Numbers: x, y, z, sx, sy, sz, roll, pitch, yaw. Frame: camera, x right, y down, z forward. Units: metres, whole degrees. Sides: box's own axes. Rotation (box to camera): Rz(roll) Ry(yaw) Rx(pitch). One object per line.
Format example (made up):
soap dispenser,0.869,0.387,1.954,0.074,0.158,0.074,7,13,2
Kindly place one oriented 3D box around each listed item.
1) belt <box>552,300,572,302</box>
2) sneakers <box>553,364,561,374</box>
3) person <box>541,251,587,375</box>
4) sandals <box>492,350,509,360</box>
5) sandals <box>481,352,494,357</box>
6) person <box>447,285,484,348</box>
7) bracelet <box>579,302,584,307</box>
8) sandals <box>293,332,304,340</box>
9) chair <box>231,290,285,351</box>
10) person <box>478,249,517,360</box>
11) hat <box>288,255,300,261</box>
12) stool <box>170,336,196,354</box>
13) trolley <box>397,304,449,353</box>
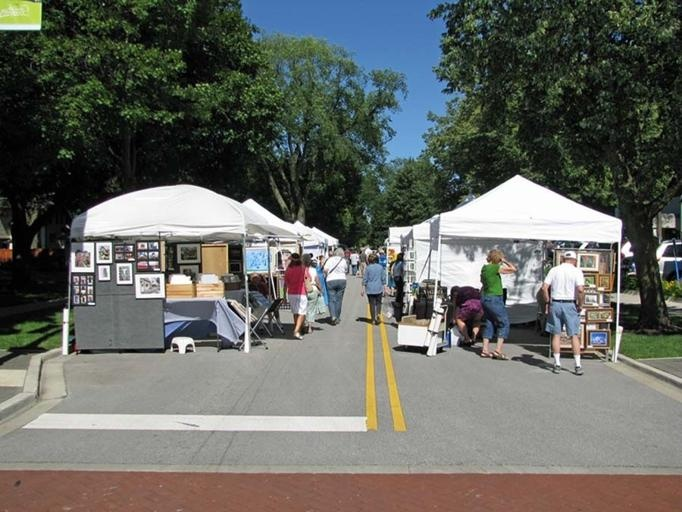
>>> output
belt,4.242,0.848,11.230,0.323,0.039,0.061,2,-2,9
sneakers,4.035,2.081,11.015,0.155,0.169,0.359,1,-2,20
person,4.291,1.046,11.360,0.733,2.308,1.108,1,-1,24
sandals,3.275,2.046,12.177,0.385,0.169,0.153,1,0,12
sandals,3.054,2.058,12.303,0.266,0.103,0.100,22,-45,-25
person,2.910,1.402,13.896,0.609,1.504,0.983,8,-31,-24
bracelet,4.563,0.911,11.183,0.045,0.092,0.201,1,-2,28
sandals,-1.070,1.961,14.405,0.285,0.139,0.103,-3,4,25
chair,-2.080,1.481,14.746,1.288,1.206,4.040,2,-2,-6
person,3.292,1.020,12.551,0.542,2.299,0.846,1,-6,4
hat,-1.134,0.026,14.424,0.232,0.172,0.275,2,-2,-7
stool,-3.437,1.922,12.824,0.369,0.225,0.365,4,-4,-42
trolley,1.817,1.626,13.245,1.039,1.024,1.181,2,-2,11
